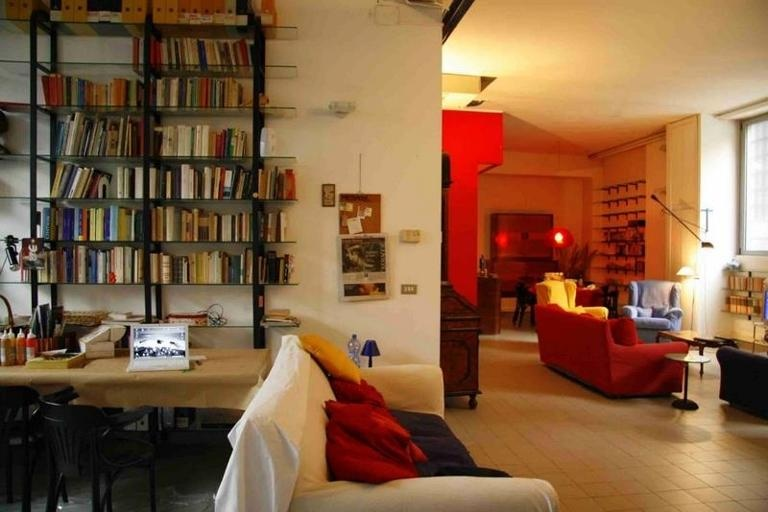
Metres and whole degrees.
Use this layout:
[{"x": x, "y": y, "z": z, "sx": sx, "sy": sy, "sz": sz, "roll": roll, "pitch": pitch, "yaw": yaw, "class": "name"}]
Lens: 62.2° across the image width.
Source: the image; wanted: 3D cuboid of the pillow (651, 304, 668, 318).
[{"x": 4.946, "y": 0.991, "z": 11.397, "sx": 0.255, "sy": 0.224, "sz": 0.105, "roll": 5, "pitch": -3, "yaw": 26, "class": "pillow"}]

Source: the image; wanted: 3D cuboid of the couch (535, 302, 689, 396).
[{"x": 3.295, "y": 1.329, "z": 9.607, "sx": 1.252, "sy": 1.047, "sz": 2.414, "roll": 2, "pitch": 1, "yaw": -10, "class": "couch"}]

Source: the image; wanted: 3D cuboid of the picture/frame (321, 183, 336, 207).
[{"x": -0.670, "y": -0.739, "z": 7.713, "sx": 0.176, "sy": 0.274, "sz": 0.075, "roll": -1, "pitch": 16, "yaw": -6, "class": "picture/frame"}]

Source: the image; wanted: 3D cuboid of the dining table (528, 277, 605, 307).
[{"x": 3.415, "y": 0.697, "z": 11.948, "sx": 0.802, "sy": 0.906, "sz": 0.858, "roll": 0, "pitch": -4, "yaw": -36, "class": "dining table"}]

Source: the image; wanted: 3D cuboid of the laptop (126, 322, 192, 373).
[{"x": -2.226, "y": 0.917, "z": 6.329, "sx": 0.586, "sy": 0.340, "sz": 0.387, "roll": 2, "pitch": 13, "yaw": -14, "class": "laptop"}]

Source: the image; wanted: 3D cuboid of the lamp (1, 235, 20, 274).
[{"x": -4.293, "y": -0.041, "z": 7.372, "sx": 0.159, "sy": 0.434, "sz": 0.528, "roll": -9, "pitch": 17, "yaw": -30, "class": "lamp"}]

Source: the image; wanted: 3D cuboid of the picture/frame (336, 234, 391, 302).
[{"x": -0.273, "y": 0.135, "z": 7.740, "sx": 0.943, "sy": 0.957, "sz": 0.103, "roll": -1, "pitch": -1, "yaw": -3, "class": "picture/frame"}]

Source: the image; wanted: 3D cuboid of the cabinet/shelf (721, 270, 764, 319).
[{"x": 6.237, "y": 0.648, "z": 11.011, "sx": 0.343, "sy": 0.804, "sz": 0.920, "roll": -2, "pitch": 2, "yaw": -15, "class": "cabinet/shelf"}]

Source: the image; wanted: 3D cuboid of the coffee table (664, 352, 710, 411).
[{"x": 3.969, "y": 1.647, "z": 8.345, "sx": 0.656, "sy": 0.653, "sz": 0.633, "roll": 6, "pitch": 7, "yaw": 43, "class": "coffee table"}]
